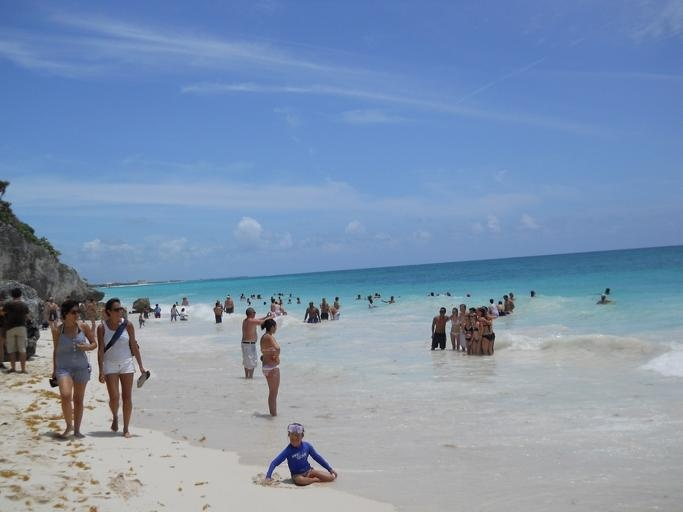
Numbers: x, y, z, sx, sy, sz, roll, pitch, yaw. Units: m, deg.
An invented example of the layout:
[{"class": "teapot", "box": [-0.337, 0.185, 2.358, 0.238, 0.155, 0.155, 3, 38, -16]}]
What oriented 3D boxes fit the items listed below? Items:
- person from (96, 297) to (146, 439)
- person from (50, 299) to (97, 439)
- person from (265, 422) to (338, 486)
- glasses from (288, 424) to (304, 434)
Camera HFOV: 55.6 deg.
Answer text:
[{"class": "person", "box": [-3.970, 2.003, 11.634, 0.762, 2.558, 0.722, -1, 4, -19]}, {"class": "person", "box": [-4.674, 1.966, 11.290, 0.719, 2.454, 0.737, -1, 4, -23]}, {"class": "person", "box": [-0.657, 3.224, 10.650, 1.195, 0.994, 0.581, 0, 4, -8]}, {"class": "glasses", "box": [-0.735, 2.822, 10.487, 0.225, 0.173, 0.158, 1, 4, 14]}]
